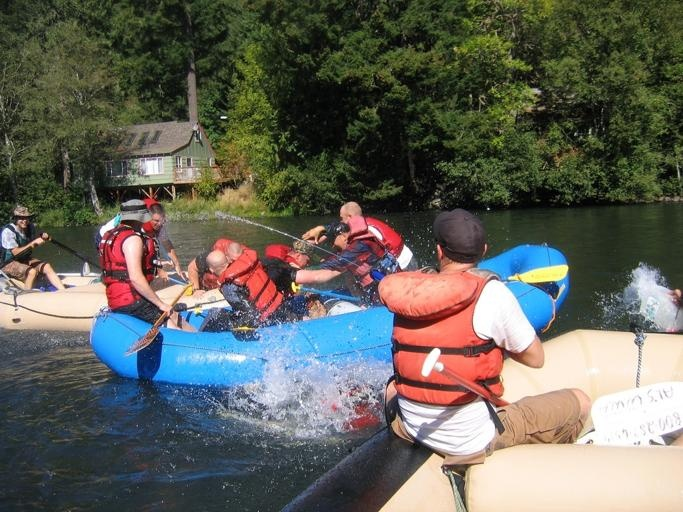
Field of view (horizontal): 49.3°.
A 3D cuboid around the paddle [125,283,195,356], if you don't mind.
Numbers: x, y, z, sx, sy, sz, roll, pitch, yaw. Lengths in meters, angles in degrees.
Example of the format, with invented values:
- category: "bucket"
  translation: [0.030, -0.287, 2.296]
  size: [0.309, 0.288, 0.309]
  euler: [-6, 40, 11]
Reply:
- category: "paddle"
  translation: [-2.006, 0.674, 8.694]
  size: [0.249, 0.157, 1.404]
  euler: [-15, 18, 21]

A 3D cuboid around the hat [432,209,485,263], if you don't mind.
- category: "hat"
  translation: [0.946, -0.175, 6.019]
  size: [0.326, 0.281, 0.475]
  euler: [1, 39, -4]

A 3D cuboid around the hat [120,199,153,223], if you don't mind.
- category: "hat"
  translation: [-2.351, -0.541, 8.559]
  size: [0.304, 0.234, 0.236]
  euler: [-17, 13, -1]
